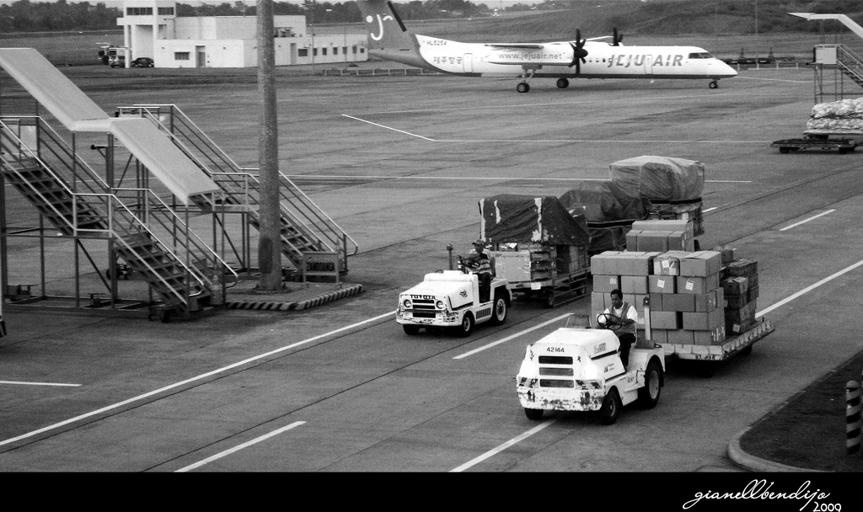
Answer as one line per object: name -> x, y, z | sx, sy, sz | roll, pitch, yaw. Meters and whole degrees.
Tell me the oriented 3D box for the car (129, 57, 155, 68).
car -> -37.022, -24.293, 222.396 | 2.555, 0.946, 1.531 | -16, 19, -29
